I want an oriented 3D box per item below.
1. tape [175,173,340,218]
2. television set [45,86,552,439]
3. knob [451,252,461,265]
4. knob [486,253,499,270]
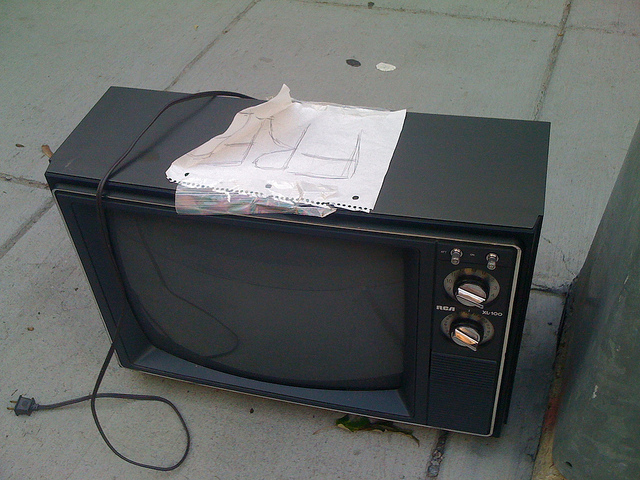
[{"bbox_3d":[-0.173,-0.125,1.879,0.454,0.062,0.102,2,53,8],"label":"tape"},{"bbox_3d":[-0.028,0.066,2.317,1.415,0.973,0.690,6,45,11],"label":"television set"},{"bbox_3d":[0.366,0.051,1.813,0.030,0.027,0.046,-2,12,13],"label":"knob"},{"bbox_3d":[0.461,0.058,1.814,0.033,0.049,0.022,8,55,13],"label":"knob"}]
